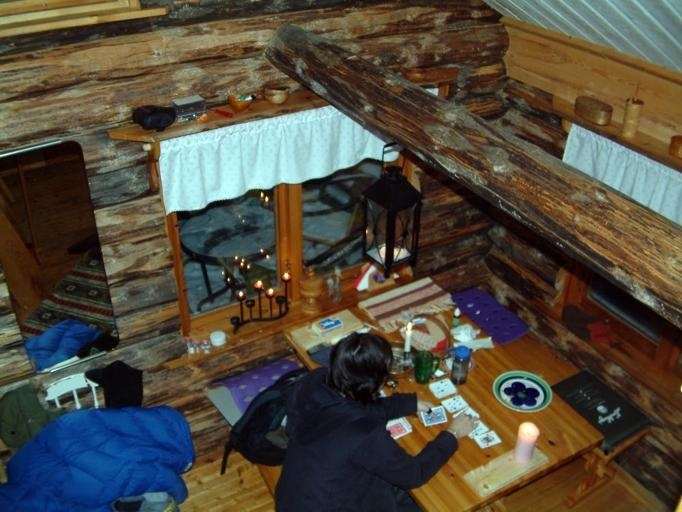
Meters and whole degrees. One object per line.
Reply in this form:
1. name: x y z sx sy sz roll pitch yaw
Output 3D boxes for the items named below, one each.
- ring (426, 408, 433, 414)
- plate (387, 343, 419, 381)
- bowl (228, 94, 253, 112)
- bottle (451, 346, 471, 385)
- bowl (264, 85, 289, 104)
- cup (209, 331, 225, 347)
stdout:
1. ring: 0.599 1.062 3.630 0.036 0.029 0.041 1 7 -4
2. plate: 0.450 0.790 3.956 0.108 0.233 0.268 0 23 -15
3. bowl: -0.741 -1.090 3.807 0.167 0.065 0.111 -14 43 -19
4. bottle: 0.864 0.802 3.842 0.172 0.313 0.132 -4 46 -4
5. bowl: -0.471 -1.172 3.906 0.175 0.088 0.137 -8 37 -10
6. cup: -1.030 0.684 4.398 0.155 0.066 0.122 -5 35 -9
